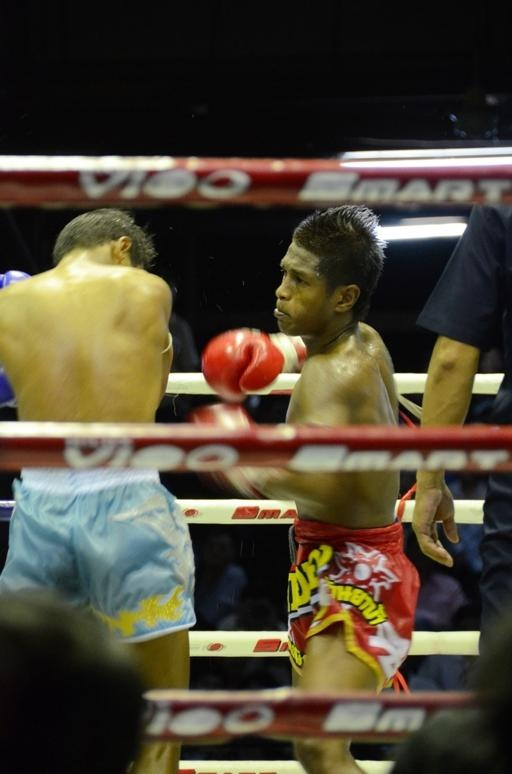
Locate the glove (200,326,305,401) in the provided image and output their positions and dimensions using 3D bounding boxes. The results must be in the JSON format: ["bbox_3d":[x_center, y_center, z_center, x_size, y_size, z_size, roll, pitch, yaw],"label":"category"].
[{"bbox_3d":[0.017,-0.058,2.056,0.291,0.123,0.158,-13,69,-26],"label":"glove"}]
